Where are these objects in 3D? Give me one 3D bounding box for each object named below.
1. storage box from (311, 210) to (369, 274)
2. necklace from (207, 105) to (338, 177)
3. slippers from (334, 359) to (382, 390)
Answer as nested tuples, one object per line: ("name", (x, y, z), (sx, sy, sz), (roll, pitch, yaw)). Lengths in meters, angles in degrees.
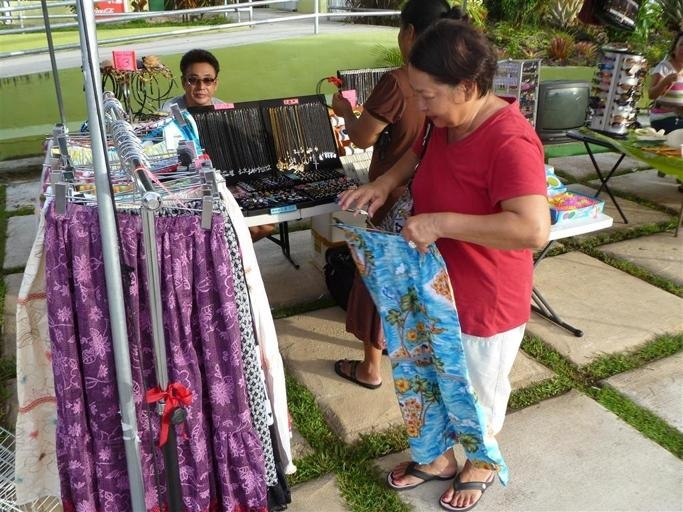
("storage box", (-0.092, -0.162, 4.078), (0.364, 0.448, 0.438), (-6, 26, -27))
("necklace", (-0.486, -0.755, 3.365), (0.762, 0.426, 0.031), (-13, -9, -30))
("slippers", (0.088, 0.721, 3.095), (0.135, 0.086, 0.272), (-34, 51, -31))
